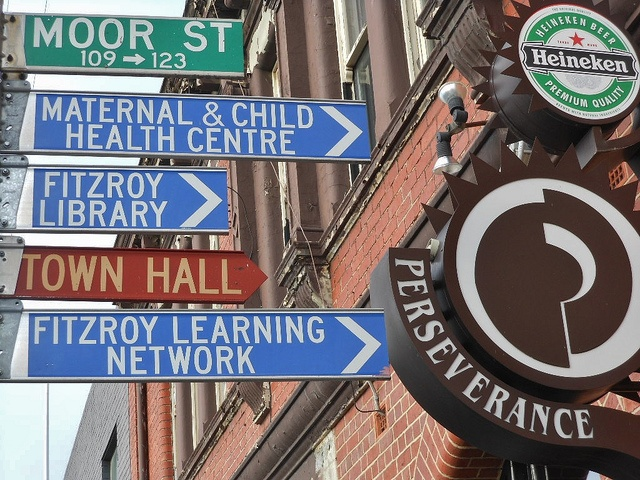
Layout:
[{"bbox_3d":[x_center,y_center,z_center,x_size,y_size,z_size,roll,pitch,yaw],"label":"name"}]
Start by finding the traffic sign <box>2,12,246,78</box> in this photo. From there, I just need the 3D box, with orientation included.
[{"bbox_3d":[-1.280,-1.299,6.834,1.546,0.162,0.480,-1,66,-12],"label":"traffic sign"}]

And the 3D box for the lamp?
[{"bbox_3d":[0.987,-0.836,7.440,0.221,0.449,0.673,19,61,-41],"label":"lamp"}]
